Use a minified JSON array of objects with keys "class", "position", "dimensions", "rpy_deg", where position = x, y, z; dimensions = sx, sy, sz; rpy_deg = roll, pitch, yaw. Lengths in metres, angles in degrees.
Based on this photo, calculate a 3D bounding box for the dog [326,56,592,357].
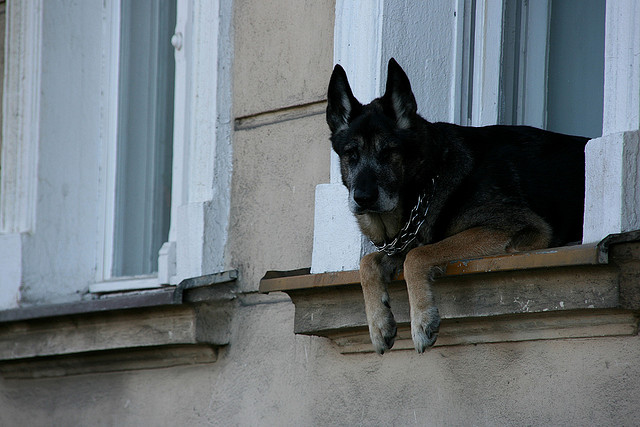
[{"class":"dog","position":[0.999,-0.184,15.708],"dimensions":[1.847,2.095,2.191],"rpy_deg":[13,17,22]}]
